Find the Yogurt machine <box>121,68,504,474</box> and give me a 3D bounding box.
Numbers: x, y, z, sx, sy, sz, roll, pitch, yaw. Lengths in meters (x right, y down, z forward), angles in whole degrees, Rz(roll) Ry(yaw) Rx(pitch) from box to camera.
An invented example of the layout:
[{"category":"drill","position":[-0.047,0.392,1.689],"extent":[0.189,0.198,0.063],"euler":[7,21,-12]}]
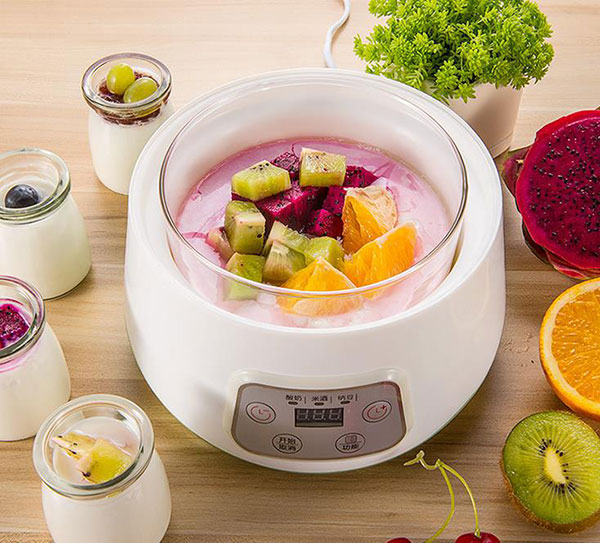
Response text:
[{"category":"Yogurt machine","position":[0.022,0.040,1.053],"extent":[0.682,0.339,0.549],"euler":[0,56,0]}]
